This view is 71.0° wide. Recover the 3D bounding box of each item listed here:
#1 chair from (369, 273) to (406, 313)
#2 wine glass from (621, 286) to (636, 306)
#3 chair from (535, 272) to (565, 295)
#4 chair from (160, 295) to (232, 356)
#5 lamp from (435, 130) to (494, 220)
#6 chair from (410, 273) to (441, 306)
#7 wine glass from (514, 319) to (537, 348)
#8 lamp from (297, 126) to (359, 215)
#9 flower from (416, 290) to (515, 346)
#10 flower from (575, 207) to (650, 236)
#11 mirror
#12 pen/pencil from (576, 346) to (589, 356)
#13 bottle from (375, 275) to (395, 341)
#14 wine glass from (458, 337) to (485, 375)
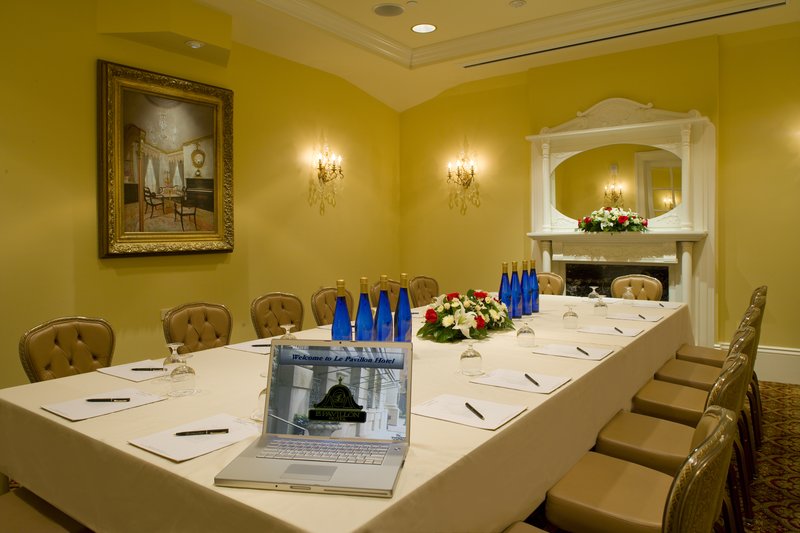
[{"bbox_3d":[-0.148,0.331,5.700,0.274,0.403,0.310,-19,5,-19],"label":"chair"},{"bbox_3d":[2.153,0.273,5.260,0.146,0.274,0.144,-1,-4,17],"label":"wine glass"},{"bbox_3d":[1.659,0.185,6.163,0.230,0.315,0.246,-2,-4,33],"label":"chair"},{"bbox_3d":[-1.471,0.398,4.206,0.377,0.664,0.390,-2,4,-43],"label":"chair"},{"bbox_3d":[0.907,-1.279,7.812,0.491,1.004,0.318,0,-4,-19],"label":"lamp"},{"bbox_3d":[0.263,0.240,6.241,0.299,0.495,0.294,-1,1,-32],"label":"chair"},{"bbox_3d":[0.838,0.440,3.683,0.157,0.224,0.166,0,-7,1],"label":"wine glass"},{"bbox_3d":[-0.971,-1.160,7.084,0.436,0.879,0.461,3,-1,-39],"label":"lamp"},{"bbox_3d":[0.384,0.378,3.849,0.427,0.263,0.477,-1,-2,23],"label":"flower"},{"bbox_3d":[2.549,-0.579,6.725,0.796,0.325,0.304,0,4,22],"label":"flower"},{"bbox_3d":[2.715,-1.019,6.768,1.068,0.801,0.029,2,4,34],"label":"mirror"},{"bbox_3d":[1.113,0.512,3.423,0.022,0.024,0.089,-14,33,-24],"label":"pen/pencil"},{"bbox_3d":[-0.097,0.290,3.348,0.113,0.455,0.115,-1,18,0],"label":"bottle"},{"bbox_3d":[0.380,0.490,3.177,0.159,0.252,0.152,4,10,30],"label":"wine glass"}]
